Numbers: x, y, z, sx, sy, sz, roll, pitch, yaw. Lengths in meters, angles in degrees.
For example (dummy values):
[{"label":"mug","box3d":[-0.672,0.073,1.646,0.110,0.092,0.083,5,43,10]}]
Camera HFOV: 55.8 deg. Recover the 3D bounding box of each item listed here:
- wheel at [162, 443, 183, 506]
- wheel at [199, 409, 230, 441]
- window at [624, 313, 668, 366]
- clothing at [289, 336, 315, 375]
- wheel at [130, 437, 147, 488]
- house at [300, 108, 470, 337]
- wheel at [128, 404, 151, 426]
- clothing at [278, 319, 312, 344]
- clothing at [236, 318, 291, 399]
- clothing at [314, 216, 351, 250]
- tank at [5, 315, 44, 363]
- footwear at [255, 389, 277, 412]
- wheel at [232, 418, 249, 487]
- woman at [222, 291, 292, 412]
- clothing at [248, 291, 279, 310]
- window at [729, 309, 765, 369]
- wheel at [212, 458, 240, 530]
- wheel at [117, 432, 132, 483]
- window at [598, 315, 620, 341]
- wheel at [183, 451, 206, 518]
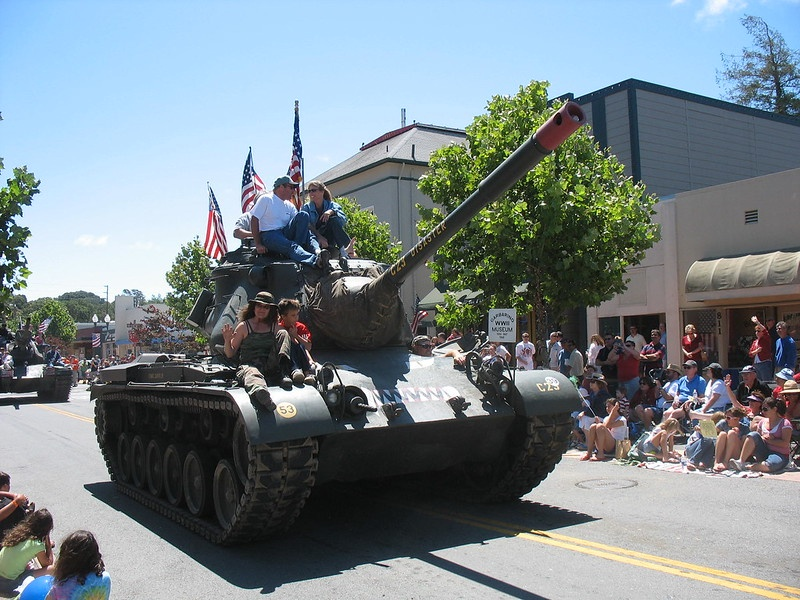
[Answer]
[{"label":"wheel","box3d":[-3.179,2.441,10.542,0.099,0.584,0.555,-8,45,-25]},{"label":"wheel","box3d":[-2.342,1.567,9.534,0.234,0.531,0.457,0,1,-32]},{"label":"window","box3d":[6.649,1.037,20.180,1.118,1.285,0.633,-8,-13,37]},{"label":"clothing","box3d":[-1.237,0.704,9.576,0.298,0.436,0.347,-1,1,-3]},{"label":"wheel","box3d":[-4.046,2.505,11.662,0.103,0.761,0.663,-2,6,-24]},{"label":"house","box3d":[0.287,-4.767,40.667,8.087,12.017,10.968,2,-5,-17]},{"label":"wheel","box3d":[-4.043,1.778,11.704,0.195,0.452,0.394,1,0,-24]},{"label":"clothing","box3d":[-1.307,0.427,10.179,0.275,0.334,0.117,0,-4,-25]},{"label":"clothing","box3d":[-1.662,0.679,9.189,0.636,0.782,1.272,-2,1,-10]},{"label":"clothing","box3d":[-1.019,-1.092,12.391,0.368,0.745,0.840,2,3,-31]},{"label":"tank","box3d":[-14.081,1.664,28.250,0.956,1.148,2.011,1,-5,-36]},{"label":"footwear","box3d":[-1.511,1.110,8.385,0.149,0.322,0.204,-26,-3,1]},{"label":"wheel","box3d":[-1.882,1.769,8.828,0.175,0.729,0.586,2,-9,-3]},{"label":"woman","box3d":[-1.754,0.606,9.452,0.662,1.601,1.329,-1,-10,-19]},{"label":"clothing","box3d":[-1.732,0.027,9.777,0.233,0.121,0.296,8,-18,12]},{"label":"window","box3d":[9.370,1.009,20.319,1.038,1.253,2.089,3,19,19]},{"label":"wheel","box3d":[-2.114,2.364,9.174,0.168,0.626,0.606,-5,-43,-26]},{"label":"wheel","box3d":[-4.479,2.566,12.239,0.144,0.832,0.681,-1,4,-21]},{"label":"window","box3d":[6.732,0.863,24.231,0.062,0.694,0.643,-2,-1,-30]},{"label":"wheel","box3d":[-2.708,2.426,9.929,0.127,0.615,0.592,-5,-29,-23]}]
